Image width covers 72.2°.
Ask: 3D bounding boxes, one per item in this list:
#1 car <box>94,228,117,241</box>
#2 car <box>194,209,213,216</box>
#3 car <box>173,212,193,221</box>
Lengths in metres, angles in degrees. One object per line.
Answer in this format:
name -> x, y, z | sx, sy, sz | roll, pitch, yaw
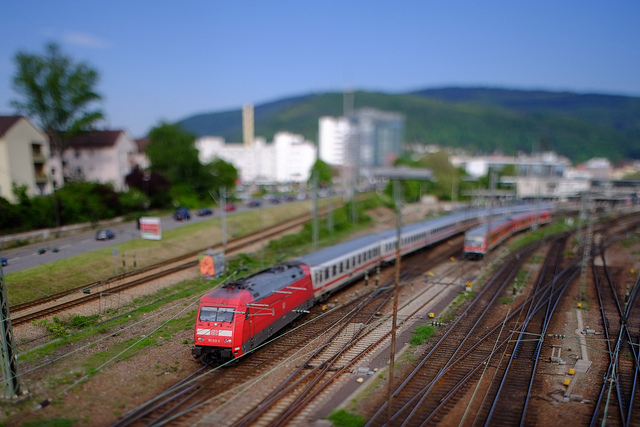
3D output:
car -> -21.888, 2.231, 45.403 | 1.162, 1.055, 2.015 | 1, 11, 4
car -> -14.501, -0.011, 55.267 | 1.522, 0.933, 0.790 | -6, 20, -7
car -> -16.462, 0.406, 52.323 | 1.929, 0.989, 0.809 | -8, 7, -38
